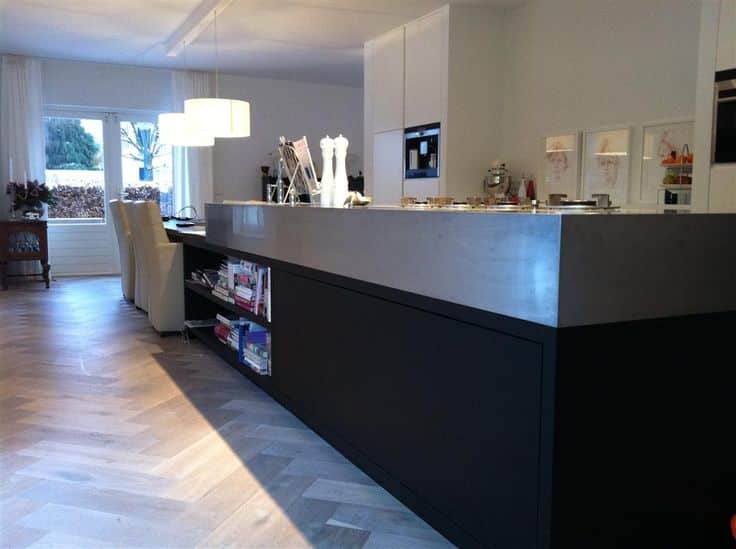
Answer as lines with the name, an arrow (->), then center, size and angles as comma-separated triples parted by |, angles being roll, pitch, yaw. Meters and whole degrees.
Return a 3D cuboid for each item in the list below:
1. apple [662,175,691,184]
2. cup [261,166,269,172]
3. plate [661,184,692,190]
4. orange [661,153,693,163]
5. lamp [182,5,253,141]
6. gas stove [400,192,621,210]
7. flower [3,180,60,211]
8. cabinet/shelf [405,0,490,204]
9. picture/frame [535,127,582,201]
apple -> 2.233, -0.687, 3.821 | 0.085, 0.043, 0.121 | -1, 4, -37
cup -> -1.693, -1.731, 8.711 | 0.113, 0.096, 0.112 | -1, 1, 0
plate -> 2.227, -0.635, 3.830 | 0.067, 0.047, 0.194 | -5, 10, -28
orange -> 2.313, -0.867, 3.949 | 0.145, 0.054, 0.152 | 0, 2, 17
lamp -> -1.270, -1.625, 4.619 | 0.567, 1.266, 0.594 | 8, 25, 24
gas stove -> 0.536, -0.294, 2.125 | 0.623, 0.055, 0.951 | -2, 9, -12
flower -> -4.586, -1.055, 7.171 | 0.498, 0.386, 0.522 | 2, -1, -40
cabinet/shelf -> 0.855, -1.736, 5.458 | 0.972, 1.867, 0.580 | 2, 9, 12
picture/frame -> 1.736, -0.986, 4.830 | 0.165, 0.615, 0.516 | -3, 9, -23
